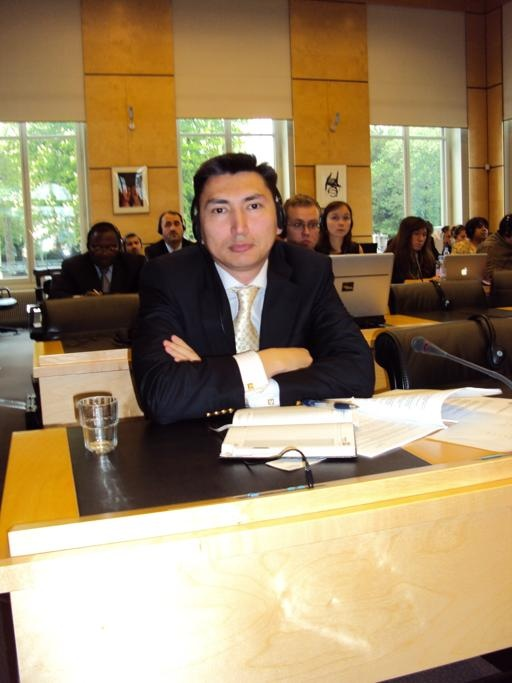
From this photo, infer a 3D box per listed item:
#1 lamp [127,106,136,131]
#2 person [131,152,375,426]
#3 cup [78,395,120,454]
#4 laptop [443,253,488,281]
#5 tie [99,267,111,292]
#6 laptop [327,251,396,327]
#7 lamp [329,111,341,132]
[{"bbox_3d":[-1.844,-3.287,7.975,0.074,0.351,0.109,2,12,35],"label":"lamp"},{"bbox_3d":[-0.030,-0.078,1.482,0.653,0.298,0.781,-2,41,-6],"label":"person"},{"bbox_3d":[-0.311,0.160,1.021,0.095,0.102,0.093,-1,-3,0],"label":"cup"},{"bbox_3d":[1.654,-0.598,4.355,0.360,0.227,0.244,-1,19,-4],"label":"laptop"},{"bbox_3d":[-1.121,-0.451,3.980,0.111,0.178,0.038,-4,-9,-4],"label":"tie"},{"bbox_3d":[0.451,-0.308,2.890,0.483,0.420,0.355,0,18,-1],"label":"laptop"},{"bbox_3d":[1.288,-3.584,8.840,0.226,0.325,0.105,-11,12,-34],"label":"lamp"}]
